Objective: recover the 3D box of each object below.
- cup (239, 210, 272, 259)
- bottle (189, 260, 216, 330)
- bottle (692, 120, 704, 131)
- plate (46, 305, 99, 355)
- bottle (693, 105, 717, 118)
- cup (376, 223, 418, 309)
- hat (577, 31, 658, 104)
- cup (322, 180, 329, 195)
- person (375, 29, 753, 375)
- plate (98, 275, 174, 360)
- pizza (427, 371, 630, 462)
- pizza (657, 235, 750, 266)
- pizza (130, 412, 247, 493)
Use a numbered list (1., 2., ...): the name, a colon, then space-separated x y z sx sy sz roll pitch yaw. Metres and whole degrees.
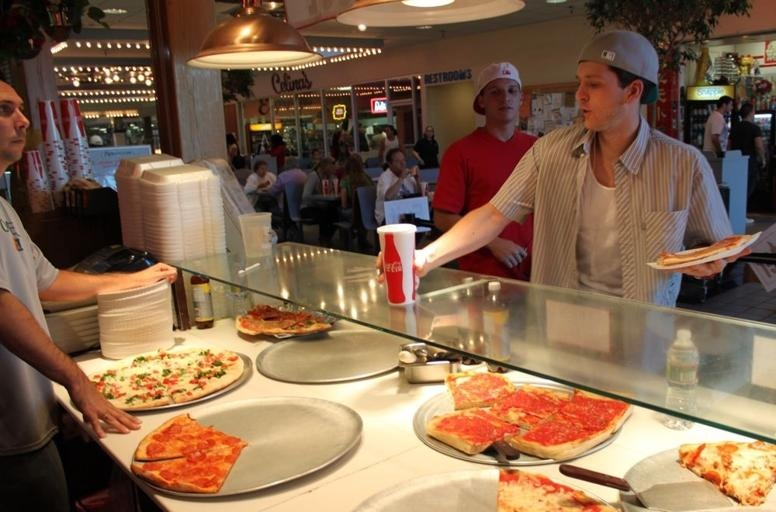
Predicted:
1. cup: -0.641 -0.111 2.736 0.221 0.211 0.184 -3 12 -17
2. bottle: -0.949 0.224 2.896 0.118 0.308 0.171 -10 17 -21
3. bottle: 5.857 -2.503 10.747 0.233 0.207 0.054 10 9 23
4. plate: -1.472 0.334 2.624 0.119 0.145 0.224 8 16 41
5. bottle: 5.946 -2.728 10.725 0.301 0.268 0.105 10 -3 6
6. cup: 0.037 0.013 1.967 0.129 0.273 0.194 -3 15 0
7. hat: 0.945 -0.781 2.337 0.323 0.245 0.234 1 32 4
8. cup: -0.928 -1.032 8.472 0.116 0.205 0.243 -5 15 -6
9. person: 0.840 -0.357 2.431 1.140 1.148 0.476 -2 16 6
10. plate: -1.117 0.265 2.715 0.363 0.358 0.356 -1 11 -1
11. pizza: 0.459 0.448 1.882 0.386 0.044 0.378 9 17 37
12. pizza: 1.024 -0.006 1.836 0.195 0.038 0.161 -18 3 3
13. pizza: -0.659 0.667 1.908 0.401 0.070 0.292 5 17 26
